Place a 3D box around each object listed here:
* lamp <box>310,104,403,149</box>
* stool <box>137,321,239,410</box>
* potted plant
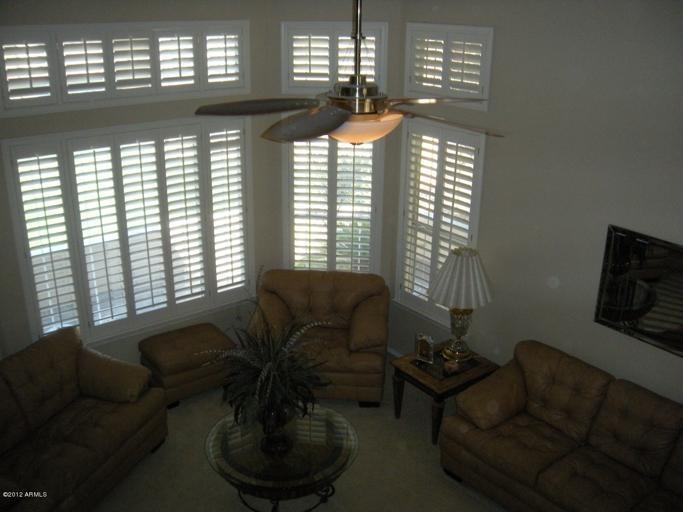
[{"bbox_3d":[0.115,-0.643,2.805,0.395,0.143,0.402,-18,18,-31],"label":"lamp"},{"bbox_3d":[-1.465,0.889,4.989,0.864,0.527,0.651,-15,36,-31],"label":"stool"},{"bbox_3d":[-0.397,0.816,4.028,0.981,0.997,1.002,18,27,35],"label":"potted plant"}]
